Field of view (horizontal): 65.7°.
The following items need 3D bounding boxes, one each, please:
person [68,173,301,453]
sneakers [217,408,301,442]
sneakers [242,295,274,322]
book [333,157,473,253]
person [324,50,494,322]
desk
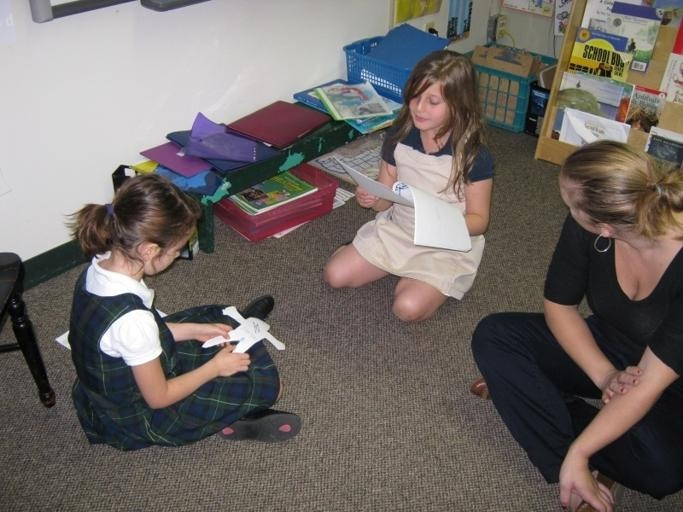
[{"bbox_3d":[-0.556,0.224,1.852,0.780,0.802,0.551,-13,52,-36],"label":"person"},{"bbox_3d":[-0.272,0.571,1.862,0.303,0.109,0.127,-1,12,-6],"label":"sneakers"},{"bbox_3d":[-0.341,0.216,2.224,0.137,0.074,0.044,-42,25,-14],"label":"sneakers"},{"bbox_3d":[0.234,-0.113,1.848,0.416,0.130,0.309,20,19,-19],"label":"book"},{"bbox_3d":[0.284,-0.293,2.172,0.742,0.945,0.641,-20,40,-15],"label":"person"},{"bbox_3d":[-0.381,-0.573,2.667,0.649,0.434,0.970,37,61,24],"label":"desk"}]
